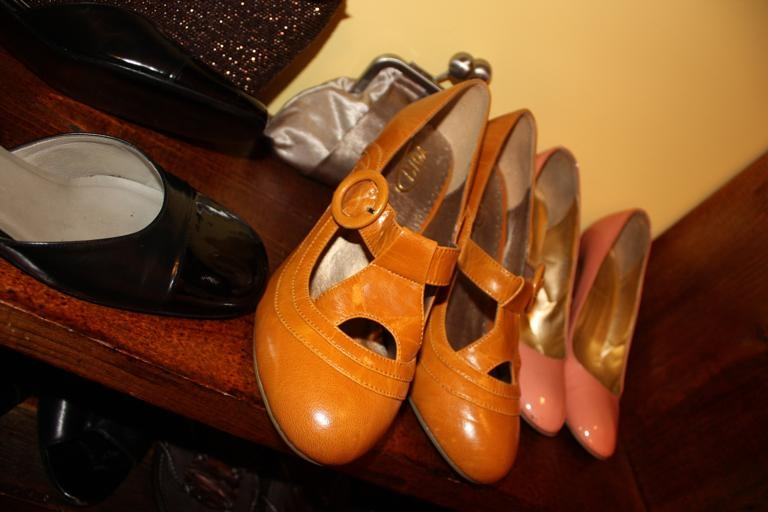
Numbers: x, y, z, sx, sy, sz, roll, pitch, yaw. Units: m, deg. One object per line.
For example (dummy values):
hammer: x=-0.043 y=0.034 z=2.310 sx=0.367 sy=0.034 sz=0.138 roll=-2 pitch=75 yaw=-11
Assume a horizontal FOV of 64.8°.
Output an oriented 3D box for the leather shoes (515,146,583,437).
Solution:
leather shoes: x=0.327 y=0.071 z=1.175 sx=0.151 sy=0.544 sz=0.206 roll=3 pitch=-8 yaw=6

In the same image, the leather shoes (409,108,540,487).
leather shoes: x=0.155 y=0.045 z=1.077 sx=0.205 sy=0.658 sz=0.270 roll=9 pitch=-19 yaw=-9

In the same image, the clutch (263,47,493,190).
clutch: x=0.023 y=-0.273 z=1.205 sx=0.507 sy=0.232 sz=0.185 roll=-21 pitch=39 yaw=-9

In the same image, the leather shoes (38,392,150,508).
leather shoes: x=-0.584 y=0.365 z=1.150 sx=0.213 sy=0.104 sz=0.121 roll=31 pitch=19 yaw=-7

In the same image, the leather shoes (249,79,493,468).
leather shoes: x=-0.040 y=0.032 z=1.053 sx=0.269 sy=0.249 sz=0.700 roll=33 pitch=29 yaw=-13
